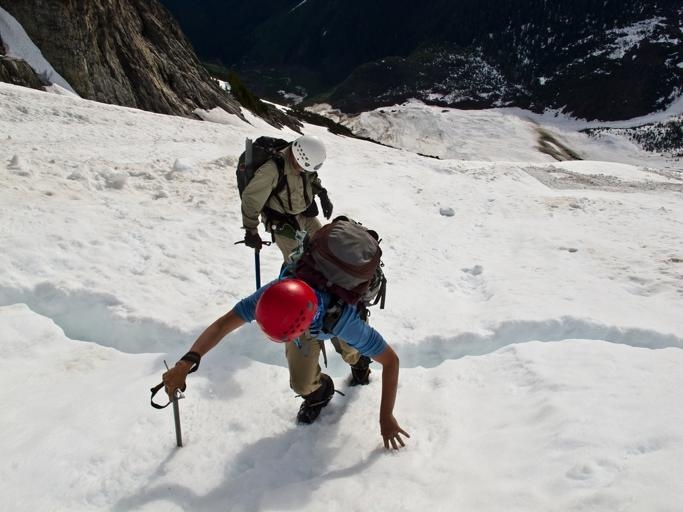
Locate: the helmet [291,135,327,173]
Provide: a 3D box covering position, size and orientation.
[{"bbox_3d":[-0.521,-1.544,8.299,0.501,0.428,0.589,13,16,-34],"label":"helmet"}]
